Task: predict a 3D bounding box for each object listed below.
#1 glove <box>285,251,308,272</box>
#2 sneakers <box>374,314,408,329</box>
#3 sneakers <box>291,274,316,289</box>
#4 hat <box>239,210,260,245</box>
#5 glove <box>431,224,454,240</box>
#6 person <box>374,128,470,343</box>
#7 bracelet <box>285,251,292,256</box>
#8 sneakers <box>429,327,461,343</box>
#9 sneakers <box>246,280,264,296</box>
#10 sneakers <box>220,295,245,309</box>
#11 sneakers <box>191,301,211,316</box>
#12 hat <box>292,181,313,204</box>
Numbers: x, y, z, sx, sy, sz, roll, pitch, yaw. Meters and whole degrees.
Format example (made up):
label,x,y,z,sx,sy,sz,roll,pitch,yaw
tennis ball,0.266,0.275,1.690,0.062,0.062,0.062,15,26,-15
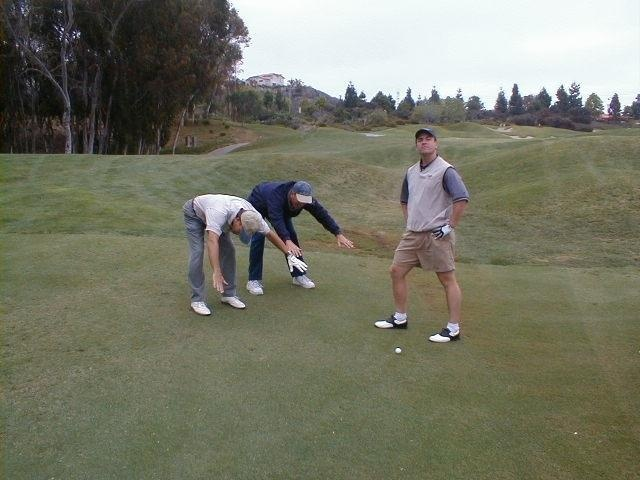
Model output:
label,x,y,z,sx,sy,sz,roll,pitch,yaw
glove,-0.271,0.339,5.730,0.104,0.227,0.359,14,-21,24
sneakers,0.858,0.991,5.349,0.411,0.174,0.150,4,-11,3
sneakers,-0.231,0.614,6.541,0.349,0.139,0.143,8,17,33
hat,-0.792,-0.147,5.132,0.229,0.398,0.239,1,-3,38
glove,1.338,-0.095,4.824,0.125,0.056,0.210,-47,21,-21
person,1.209,-0.085,5.117,0.882,2.362,0.920,-1,11,-3
bracelet,-0.394,0.160,5.694,0.098,0.055,0.075,7,52,-8
sneakers,1.410,1.075,5.032,0.345,0.135,0.147,-1,-3,-4
sneakers,-0.889,0.670,6.183,0.122,0.129,0.324,-4,2,-32
sneakers,-1.089,0.776,5.686,0.347,0.129,0.130,9,17,19
sneakers,-1.397,0.808,5.294,0.283,0.115,0.113,8,11,39
hat,-0.233,-0.634,5.957,0.230,0.173,0.302,0,32,-34
